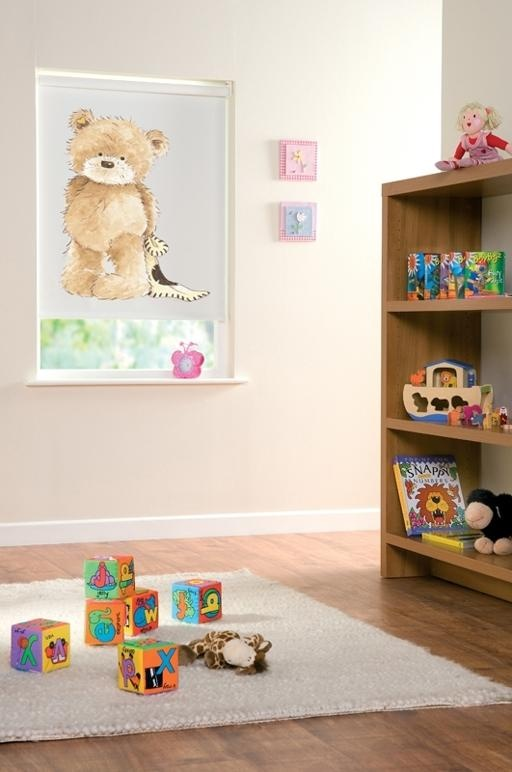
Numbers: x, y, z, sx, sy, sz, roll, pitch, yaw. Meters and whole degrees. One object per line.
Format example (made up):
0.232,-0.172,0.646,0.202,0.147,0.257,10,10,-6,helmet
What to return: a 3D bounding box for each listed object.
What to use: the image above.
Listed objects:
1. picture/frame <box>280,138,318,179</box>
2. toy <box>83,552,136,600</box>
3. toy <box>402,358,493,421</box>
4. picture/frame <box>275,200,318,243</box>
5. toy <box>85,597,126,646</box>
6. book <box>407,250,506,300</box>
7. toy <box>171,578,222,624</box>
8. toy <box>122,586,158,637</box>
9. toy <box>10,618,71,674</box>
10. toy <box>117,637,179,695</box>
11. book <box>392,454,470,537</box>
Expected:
0.192,-1.041,3.237,0.192,0.174,0.177,-1,4,-19,picture/frame
-0.348,0.448,1.667,0.112,0.104,0.111,-3,-4,32,toy
0.620,0.015,2.238,0.267,0.191,0.096,3,3,25,toy
0.181,-0.775,3.219,0.217,0.204,0.023,0,3,-12,picture/frame
-0.346,0.539,1.624,0.114,0.104,0.109,0,1,-10,toy
0.619,-0.338,2.109,0.090,0.103,0.212,3,-4,-31,book
-0.151,0.550,1.758,0.113,0.104,0.109,0,0,-20,toy
-0.299,0.545,1.669,0.120,0.084,0.116,-5,-10,5,toy
-0.444,0.535,1.419,0.115,0.079,0.112,4,-12,-24,toy
-0.198,0.509,1.300,0.108,0.099,0.102,1,-2,-25,toy
0.587,0.366,2.292,0.255,0.251,0.062,0,-14,-21,book
